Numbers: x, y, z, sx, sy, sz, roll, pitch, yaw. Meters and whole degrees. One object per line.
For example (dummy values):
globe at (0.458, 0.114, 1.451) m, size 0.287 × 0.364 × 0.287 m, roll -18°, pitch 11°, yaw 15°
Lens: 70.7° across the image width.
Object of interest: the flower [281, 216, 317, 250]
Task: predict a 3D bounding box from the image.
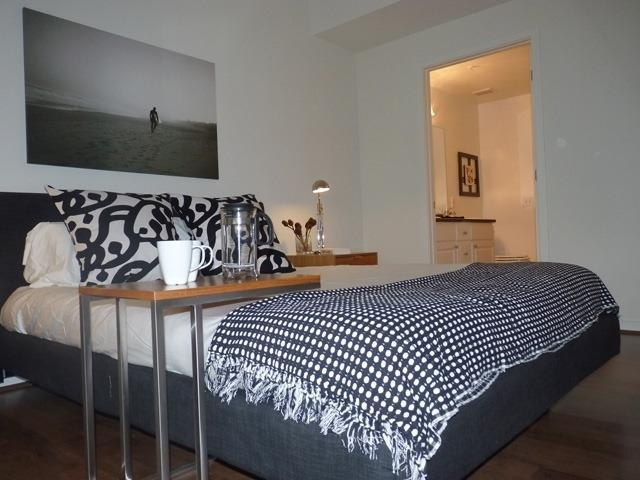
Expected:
flower at (-0.192, -0.058, 4.237) m, size 0.281 × 0.333 × 0.289 m, roll 0°, pitch 1°, yaw 39°

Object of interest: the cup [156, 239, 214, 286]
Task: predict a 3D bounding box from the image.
cup at (-0.443, 0.070, 1.498) m, size 0.109 × 0.140 × 0.249 m, roll -1°, pitch 4°, yaw 16°

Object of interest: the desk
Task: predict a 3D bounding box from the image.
desk at (-0.446, 0.501, 1.559) m, size 0.725 × 0.743 × 0.493 m, roll -1°, pitch 4°, yaw 22°

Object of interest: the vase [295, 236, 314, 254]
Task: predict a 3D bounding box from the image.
vase at (-0.155, 0.045, 4.298) m, size 0.130 × 0.141 × 0.158 m, roll 0°, pitch -4°, yaw 0°

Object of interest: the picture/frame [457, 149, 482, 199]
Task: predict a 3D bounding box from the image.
picture/frame at (2.167, -0.964, 6.610) m, size 0.085 × 0.841 × 0.656 m, roll -4°, pitch -6°, yaw 40°
